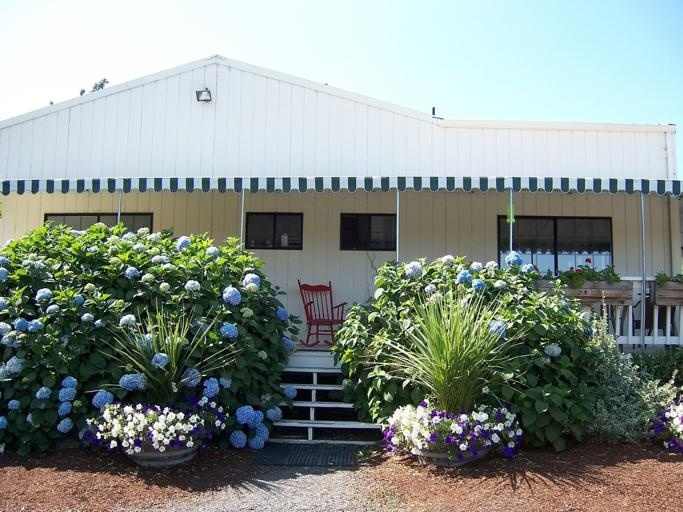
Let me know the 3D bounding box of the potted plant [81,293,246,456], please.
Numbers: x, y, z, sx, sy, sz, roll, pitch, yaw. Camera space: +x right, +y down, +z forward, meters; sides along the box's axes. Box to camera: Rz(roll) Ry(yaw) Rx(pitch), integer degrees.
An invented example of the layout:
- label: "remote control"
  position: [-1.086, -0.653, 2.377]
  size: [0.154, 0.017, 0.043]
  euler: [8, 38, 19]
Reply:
- label: "potted plant"
  position: [-2.252, 1.578, 7.875]
  size: [1.712, 2.174, 1.763]
  euler: [-3, -8, 31]

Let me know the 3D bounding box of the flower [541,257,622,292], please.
- label: "flower"
  position: [4.382, 0.364, 10.423]
  size: [0.943, 0.361, 0.779]
  euler: [-6, 3, -15]

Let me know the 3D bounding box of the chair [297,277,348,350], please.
- label: "chair"
  position: [-0.346, 1.143, 11.235]
  size: [0.752, 1.350, 0.901]
  euler: [-2, 0, -32]

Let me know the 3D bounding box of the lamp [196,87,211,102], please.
- label: "lamp"
  position: [-2.793, -3.274, 11.838]
  size: [0.236, 0.285, 0.090]
  euler: [2, 6, -1]
